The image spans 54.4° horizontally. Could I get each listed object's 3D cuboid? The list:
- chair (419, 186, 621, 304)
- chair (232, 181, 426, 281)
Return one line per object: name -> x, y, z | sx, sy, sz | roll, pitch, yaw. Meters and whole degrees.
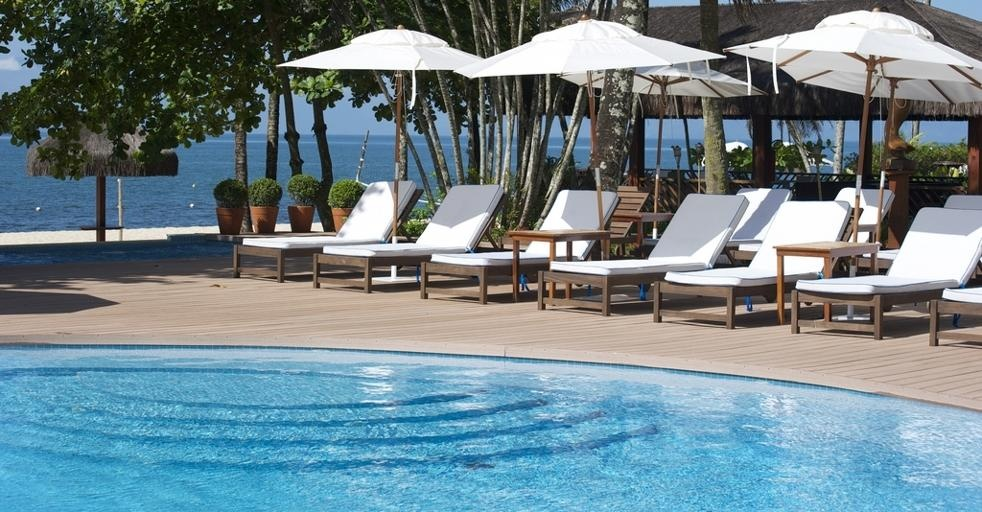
chair -> 0.727, -0.228, 15.703 | 3.129, 1.622, 1.868 | -1, 1, -38
chair -> -2.921, -0.508, 17.707 | 3.448, 1.672, 1.821 | 0, 2, -35
